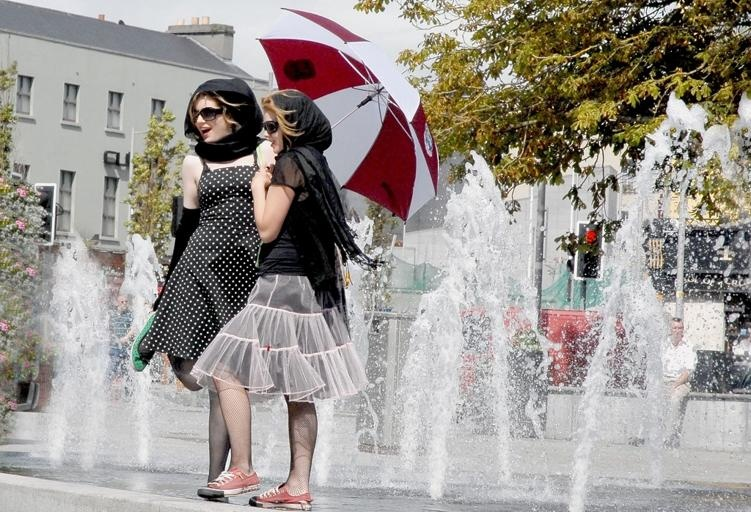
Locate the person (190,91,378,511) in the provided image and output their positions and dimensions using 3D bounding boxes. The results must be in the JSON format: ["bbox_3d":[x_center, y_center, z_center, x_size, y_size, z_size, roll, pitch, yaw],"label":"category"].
[{"bbox_3d":[-0.547,0.217,5.672,1.025,2.529,0.434,4,-7,-11],"label":"person"}]

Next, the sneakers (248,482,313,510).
[{"bbox_3d":[-0.582,1.469,5.646,0.389,0.169,0.150,4,-10,2],"label":"sneakers"}]

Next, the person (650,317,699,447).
[{"bbox_3d":[4.540,1.858,13.612,0.438,1.907,0.724,0,-7,19],"label":"person"}]

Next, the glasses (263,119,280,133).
[{"bbox_3d":[-0.659,-0.810,5.689,0.074,0.081,0.034,4,-1,28],"label":"glasses"}]

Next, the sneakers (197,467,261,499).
[{"bbox_3d":[-0.912,1.366,5.631,0.385,0.172,0.156,2,-7,-25],"label":"sneakers"}]

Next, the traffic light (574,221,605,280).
[{"bbox_3d":[3.618,-0.100,15.467,0.525,0.887,0.279,4,13,8],"label":"traffic light"}]
